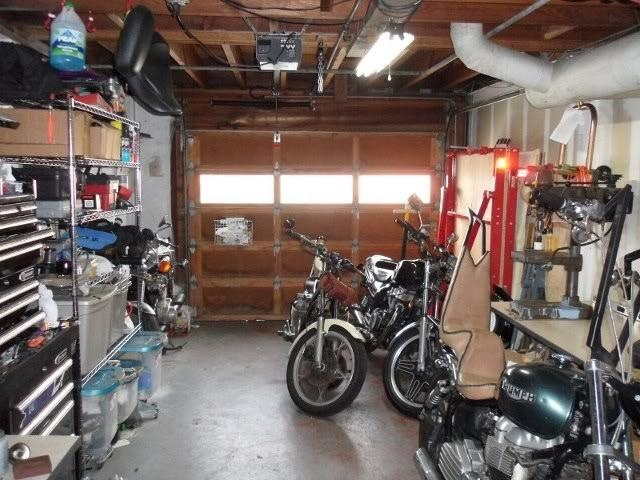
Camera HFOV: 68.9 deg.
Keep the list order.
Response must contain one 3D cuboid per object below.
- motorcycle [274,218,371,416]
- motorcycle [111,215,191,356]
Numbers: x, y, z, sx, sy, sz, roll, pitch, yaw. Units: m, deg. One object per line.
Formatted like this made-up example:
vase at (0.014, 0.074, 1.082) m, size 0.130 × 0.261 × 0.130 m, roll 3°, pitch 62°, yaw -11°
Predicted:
motorcycle at (0.051, 0.585, 3.985) m, size 0.685 × 1.546 × 1.138 m, roll 1°, pitch 10°, yaw -1°
motorcycle at (-1.620, 0.370, 4.842) m, size 0.757 × 0.872 × 1.444 m, roll -4°, pitch 7°, yaw -2°
